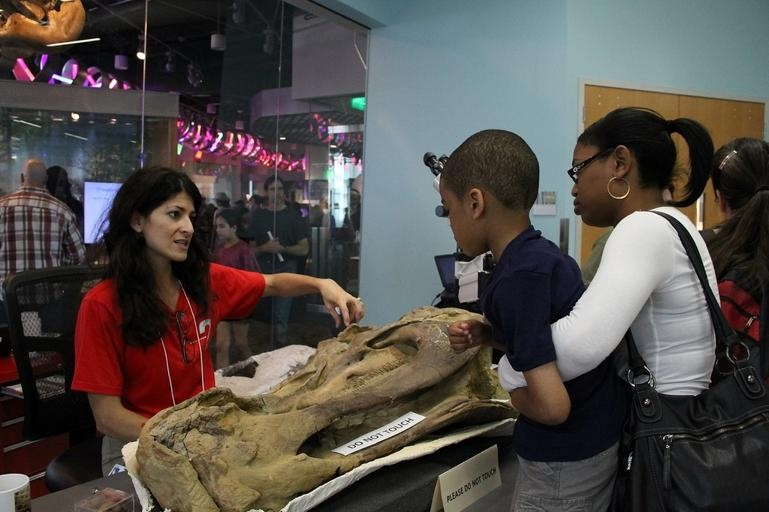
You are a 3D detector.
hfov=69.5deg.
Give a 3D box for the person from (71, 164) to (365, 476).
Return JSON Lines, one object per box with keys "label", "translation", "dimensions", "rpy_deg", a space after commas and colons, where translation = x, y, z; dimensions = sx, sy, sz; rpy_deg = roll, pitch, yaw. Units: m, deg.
{"label": "person", "translation": [-0.862, 0.170, 2.466], "dimensions": [0.318, 1.098, 0.947], "rpy_deg": [3, 5, 40]}
